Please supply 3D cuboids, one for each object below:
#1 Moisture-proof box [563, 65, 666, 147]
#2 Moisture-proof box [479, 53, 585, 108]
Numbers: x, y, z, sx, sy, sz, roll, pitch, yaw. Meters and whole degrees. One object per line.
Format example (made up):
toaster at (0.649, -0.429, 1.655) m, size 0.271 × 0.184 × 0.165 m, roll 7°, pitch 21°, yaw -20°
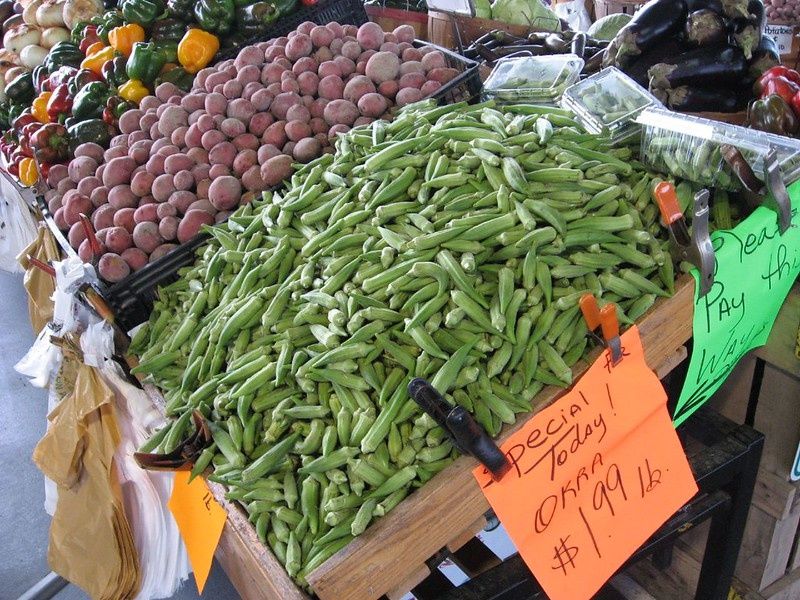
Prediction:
Moisture-proof box at (0.793, -0.756, 2.430) m, size 0.305 × 0.114 × 0.344 m, roll -39°, pitch 60°, yaw 5°
Moisture-proof box at (0.557, -0.947, 2.698) m, size 0.322 × 0.105 × 0.335 m, roll 4°, pitch 46°, yaw 25°
